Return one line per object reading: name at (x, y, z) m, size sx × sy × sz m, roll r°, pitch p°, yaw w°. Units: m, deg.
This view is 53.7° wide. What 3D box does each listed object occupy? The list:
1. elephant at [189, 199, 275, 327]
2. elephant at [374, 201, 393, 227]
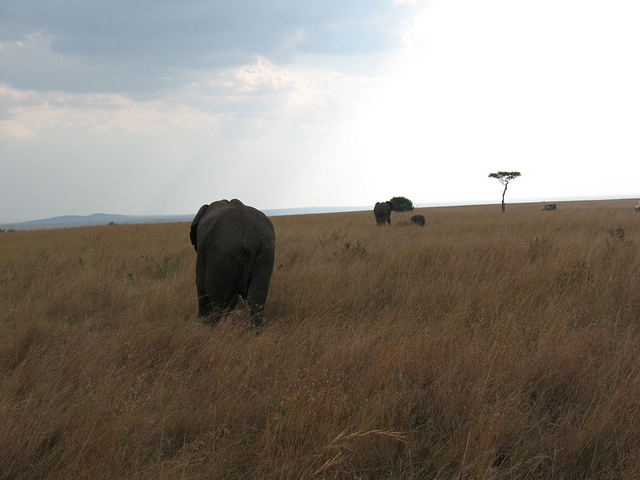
elephant at (-1.640, 0.440, 11.189) m, size 1.189 × 2.439 × 2.688 m, roll 2°, pitch 2°, yaw -25°
elephant at (2.891, -1.146, 28.700) m, size 0.631 × 1.082 × 1.836 m, roll 0°, pitch 10°, yaw 6°
